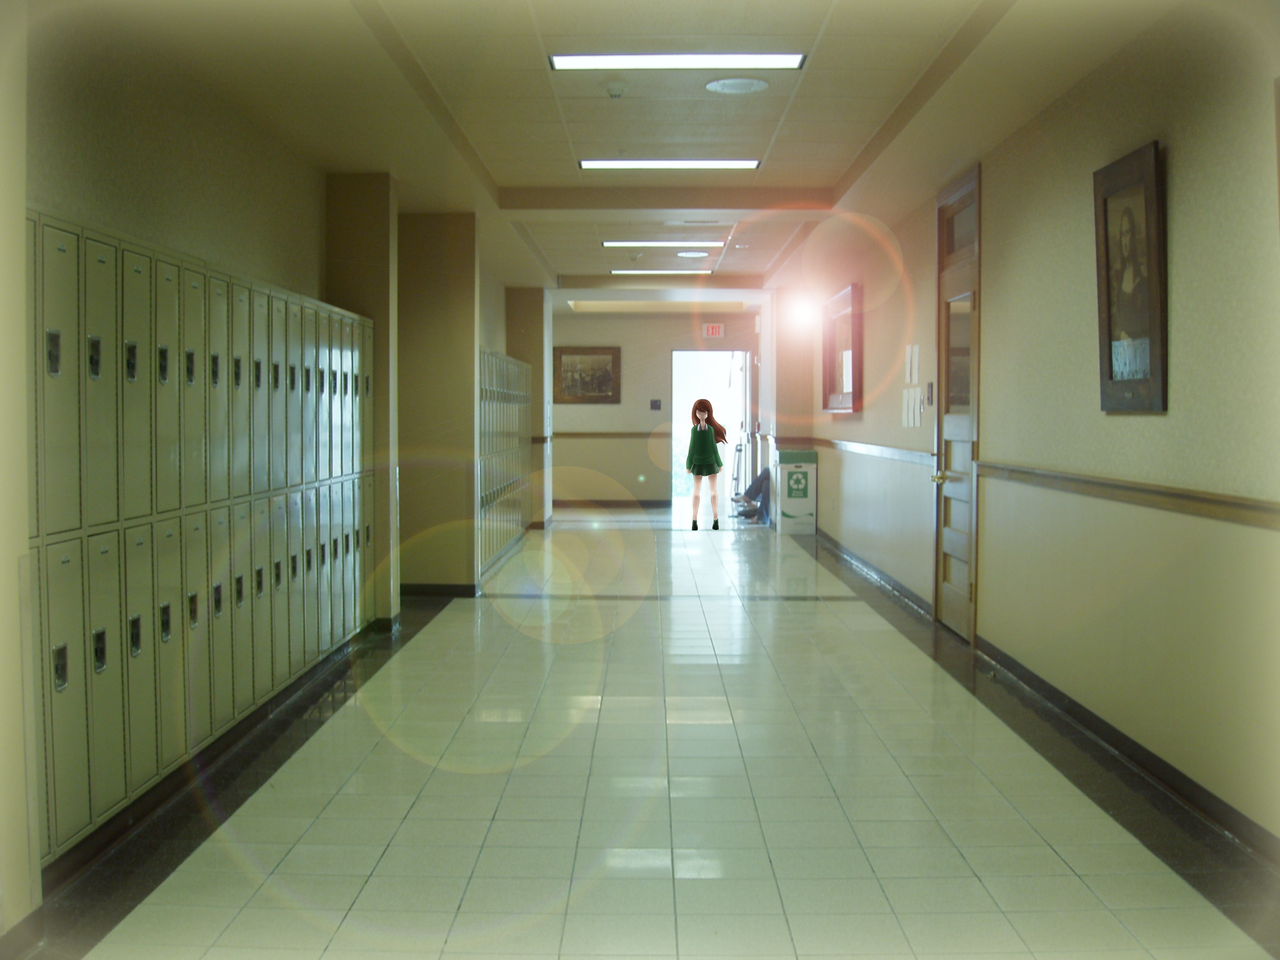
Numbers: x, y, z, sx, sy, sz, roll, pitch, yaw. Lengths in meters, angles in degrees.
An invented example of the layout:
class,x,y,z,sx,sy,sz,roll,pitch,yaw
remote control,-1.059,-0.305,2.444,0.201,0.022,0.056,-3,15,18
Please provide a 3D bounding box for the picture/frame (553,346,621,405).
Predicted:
class,x,y,z,sx,sy,sz,roll,pitch,yaw
picture/frame,-0.817,-1.695,14.844,0.789,0.709,0.033,1,5,4
